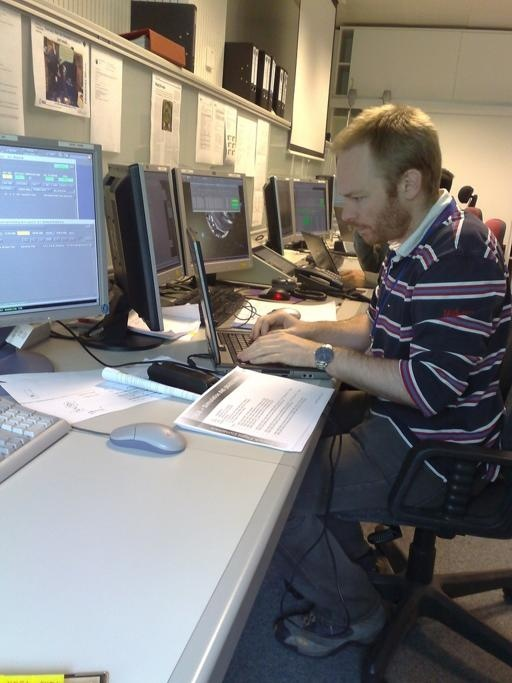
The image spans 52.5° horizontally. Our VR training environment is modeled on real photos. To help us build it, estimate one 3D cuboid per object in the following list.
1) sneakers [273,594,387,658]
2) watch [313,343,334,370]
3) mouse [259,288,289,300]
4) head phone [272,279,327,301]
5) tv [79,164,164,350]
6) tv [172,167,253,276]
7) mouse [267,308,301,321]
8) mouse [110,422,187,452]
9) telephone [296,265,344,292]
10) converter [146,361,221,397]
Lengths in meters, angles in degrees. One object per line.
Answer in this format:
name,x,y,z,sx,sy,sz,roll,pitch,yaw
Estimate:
sneakers,0.171,0.680,1.253,0.237,0.089,0.127,2,10,4
watch,0.145,0.034,1.108,0.040,0.049,0.047,9,-17,11
mouse,0.069,-0.175,1.887,0.090,0.028,0.048,6,15,9
head phone,0.170,-0.216,1.999,0.169,0.053,0.098,10,15,18
tv,-0.226,-0.190,1.214,0.098,0.383,0.316,0,21,-11
tv,-0.153,-0.400,1.754,0.043,0.353,0.486,2,15,22
mouse,0.088,-0.082,1.499,0.069,0.021,0.047,4,10,-11
mouse,-0.153,0.138,0.739,0.084,0.026,0.047,9,4,2
telephone,0.254,-0.254,2.072,0.157,0.044,0.104,17,17,-6
converter,-0.139,0.061,1.059,0.155,0.050,0.157,3,13,7
